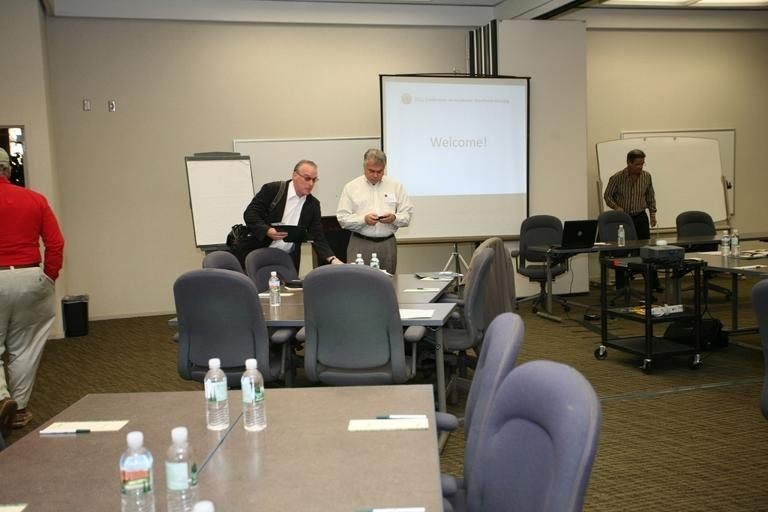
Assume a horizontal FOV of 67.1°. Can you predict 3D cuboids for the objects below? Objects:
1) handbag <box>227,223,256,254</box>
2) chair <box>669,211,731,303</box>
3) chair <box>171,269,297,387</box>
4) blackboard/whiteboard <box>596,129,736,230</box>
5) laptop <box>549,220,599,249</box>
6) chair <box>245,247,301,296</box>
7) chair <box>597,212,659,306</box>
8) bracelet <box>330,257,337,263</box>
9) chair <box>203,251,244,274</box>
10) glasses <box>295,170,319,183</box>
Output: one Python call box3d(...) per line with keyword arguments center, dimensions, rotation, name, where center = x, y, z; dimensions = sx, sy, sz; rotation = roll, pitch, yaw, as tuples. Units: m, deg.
box3d(center=(-1.491, -0.184, 5.939), dimensions=(0.261, 0.350, 0.320), rotation=(2, 9, 1), name="handbag")
box3d(center=(4.386, -0.067, 7.948), dimensions=(0.777, 1.216, 0.747), rotation=(8, -11, -27), name="chair")
box3d(center=(-1.067, 0.451, 4.230), dimensions=(0.799, 1.187, 0.828), rotation=(0, 5, 7), name="chair")
box3d(center=(4.384, -1.217, 9.221), dimensions=(1.645, 1.183, 0.073), rotation=(-3, 0, -14), name="blackboard/whiteboard")
box3d(center=(2.388, -0.296, 7.249), dimensions=(0.474, 0.368, 0.323), rotation=(-3, 9, -19), name="laptop")
box3d(center=(-1.070, 0.141, 5.391), dimensions=(0.374, 0.539, 0.449), rotation=(-1, -5, -33), name="chair")
box3d(center=(3.337, 0.000, 8.034), dimensions=(0.715, 1.155, 0.685), rotation=(-4, 6, -11), name="chair")
box3d(center=(-0.488, 0.051, 5.535), dimensions=(0.066, 0.070, 0.067), rotation=(9, 15, 38), name="bracelet")
box3d(center=(-1.374, 0.044, 4.901), dimensions=(0.253, 0.292, 0.229), rotation=(2, 8, 33), name="chair")
box3d(center=(-0.757, -0.772, 5.578), dimensions=(0.180, 0.066, 0.191), rotation=(2, 6, -16), name="glasses")
